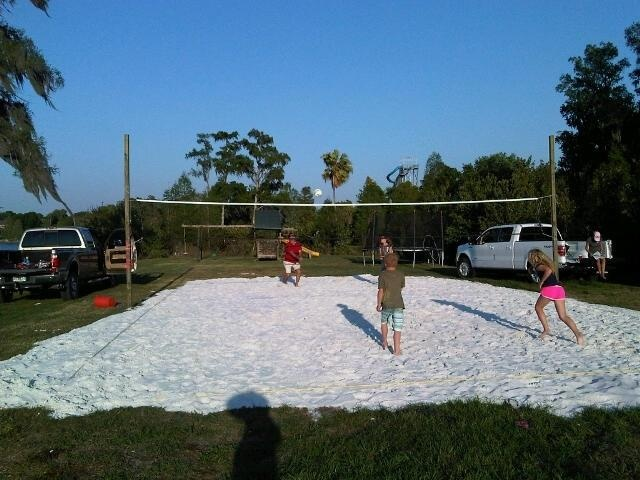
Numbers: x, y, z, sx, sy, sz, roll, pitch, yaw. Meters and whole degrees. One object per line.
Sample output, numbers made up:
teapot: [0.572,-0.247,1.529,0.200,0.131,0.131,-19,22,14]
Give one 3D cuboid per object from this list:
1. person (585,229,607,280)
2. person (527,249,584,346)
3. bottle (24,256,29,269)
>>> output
person: [8.145,0.435,15.008,0.484,1.404,0.676,1,5,38]
person: [4.733,0.996,10.327,0.863,1.726,2.188,0,4,24]
bottle: [-7.862,0.585,13.651,0.177,0.268,0.590,-4,4,-30]
